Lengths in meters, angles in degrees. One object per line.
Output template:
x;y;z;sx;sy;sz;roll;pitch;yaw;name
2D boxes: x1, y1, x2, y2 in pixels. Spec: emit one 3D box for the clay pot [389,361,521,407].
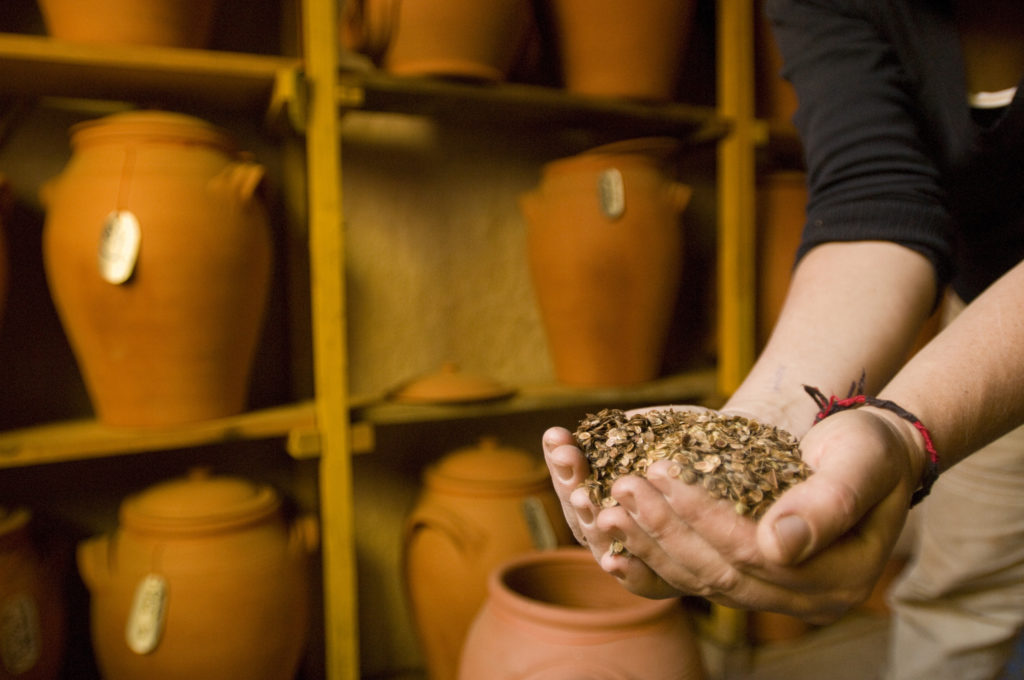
-0.123;0.111;1.896;0.271;0.060;0.074;4;13;-8;clay pot
